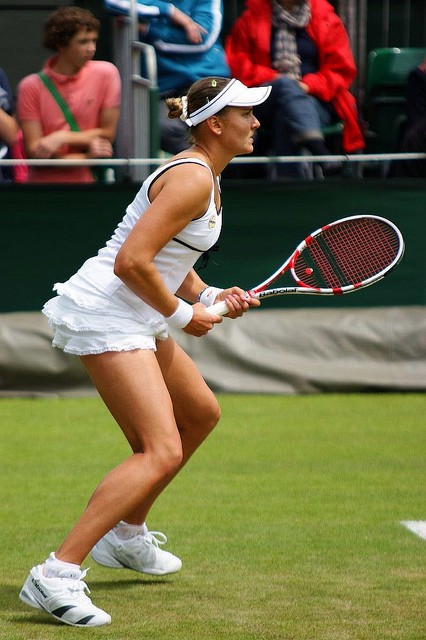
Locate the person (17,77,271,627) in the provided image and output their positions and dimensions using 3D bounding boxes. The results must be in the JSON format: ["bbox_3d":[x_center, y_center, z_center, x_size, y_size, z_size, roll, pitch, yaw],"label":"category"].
[{"bbox_3d":[-0.168,0.056,2.499,0.675,1.526,0.757,-1,5,3],"label":"person"}]

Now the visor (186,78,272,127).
[{"bbox_3d":[0.058,-0.607,2.511,0.223,0.055,0.123,-26,10,12],"label":"visor"}]

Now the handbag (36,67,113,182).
[{"bbox_3d":[-0.883,-1.275,5.488,0.151,0.838,0.089,-35,18,-3],"label":"handbag"}]

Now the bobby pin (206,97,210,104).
[{"bbox_3d":[-0.014,-0.631,2.480,0.012,0.016,0.006,3,6,38],"label":"bobby pin"}]
